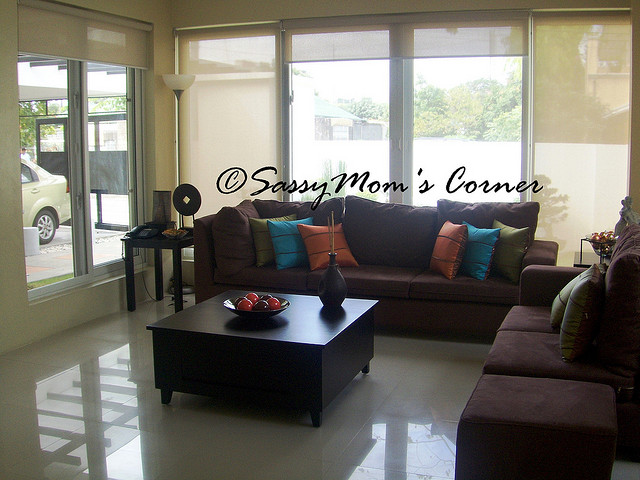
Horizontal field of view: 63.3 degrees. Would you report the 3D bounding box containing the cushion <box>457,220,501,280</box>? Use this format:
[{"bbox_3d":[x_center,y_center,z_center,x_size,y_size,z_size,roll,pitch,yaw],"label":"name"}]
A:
[{"bbox_3d":[1.331,0.095,4.468,0.266,0.452,0.489,-9,11,-18],"label":"cushion"}]

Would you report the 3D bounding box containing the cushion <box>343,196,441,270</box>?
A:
[{"bbox_3d":[0.649,-0.036,4.801,0.619,0.428,0.218,4,10,11],"label":"cushion"}]

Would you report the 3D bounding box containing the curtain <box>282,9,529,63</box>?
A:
[{"bbox_3d":[0.950,-2.054,5.238,2.205,0.421,0.075,2,12,11],"label":"curtain"}]

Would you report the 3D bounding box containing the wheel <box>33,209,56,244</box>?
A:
[{"bbox_3d":[-2.443,-0.109,4.673,0.298,0.299,0.102,-10,-12,25],"label":"wheel"}]

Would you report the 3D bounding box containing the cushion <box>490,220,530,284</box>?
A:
[{"bbox_3d":[1.558,0.115,4.273,0.403,0.408,0.150,16,-2,38],"label":"cushion"}]

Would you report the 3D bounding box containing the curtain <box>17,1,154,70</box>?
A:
[{"bbox_3d":[-2.209,-1.900,4.794,0.074,0.325,1.092,3,8,25],"label":"curtain"}]

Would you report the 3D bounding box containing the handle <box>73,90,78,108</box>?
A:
[{"bbox_3d":[-2.307,-1.330,4.898,0.046,0.150,0.013,-10,15,-39],"label":"handle"}]

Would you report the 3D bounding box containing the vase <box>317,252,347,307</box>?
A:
[{"bbox_3d":[0.085,0.273,3.608,0.182,0.398,0.185,0,12,1],"label":"vase"}]

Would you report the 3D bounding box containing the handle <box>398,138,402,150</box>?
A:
[{"bbox_3d":[0.830,-1.010,5.436,0.028,0.116,0.013,2,12,11],"label":"handle"}]

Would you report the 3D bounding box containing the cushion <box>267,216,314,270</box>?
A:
[{"bbox_3d":[-0.299,0.035,4.794,0.301,0.404,0.262,-6,13,-24],"label":"cushion"}]

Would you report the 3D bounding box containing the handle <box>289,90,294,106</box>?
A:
[{"bbox_3d":[-0.312,-1.532,5.638,0.033,0.163,0.087,9,0,11],"label":"handle"}]

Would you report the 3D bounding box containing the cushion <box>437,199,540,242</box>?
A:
[{"bbox_3d":[1.513,-0.174,4.785,0.855,0.501,0.251,3,44,13],"label":"cushion"}]

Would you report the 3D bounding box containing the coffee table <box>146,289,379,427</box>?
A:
[{"bbox_3d":[-0.362,0.686,3.501,1.325,0.638,0.840,3,12,14],"label":"coffee table"}]

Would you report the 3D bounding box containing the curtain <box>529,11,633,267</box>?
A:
[{"bbox_3d":[2.500,-0.974,5.052,0.919,2.431,0.339,1,12,5],"label":"curtain"}]

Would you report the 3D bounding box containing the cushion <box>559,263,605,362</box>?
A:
[{"bbox_3d":[1.421,0.417,2.813,0.151,0.324,0.477,12,6,23],"label":"cushion"}]

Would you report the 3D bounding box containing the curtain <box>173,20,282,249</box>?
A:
[{"bbox_3d":[-0.967,-1.065,5.924,1.215,2.635,0.074,-3,23,-9],"label":"curtain"}]

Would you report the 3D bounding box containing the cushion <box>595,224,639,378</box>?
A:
[{"bbox_3d":[1.648,0.339,2.834,0.202,0.628,0.608,6,13,29],"label":"cushion"}]

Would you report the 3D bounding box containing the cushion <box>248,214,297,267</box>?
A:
[{"bbox_3d":[-0.445,0.026,4.779,0.449,0.457,0.138,-1,-6,-2],"label":"cushion"}]

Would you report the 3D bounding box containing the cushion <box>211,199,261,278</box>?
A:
[{"bbox_3d":[-0.870,0.001,5.001,0.341,0.600,0.636,-9,2,-5],"label":"cushion"}]

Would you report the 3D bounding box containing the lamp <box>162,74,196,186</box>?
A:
[{"bbox_3d":[-1.541,-1.167,5.630,0.283,1.137,0.281,11,14,31],"label":"lamp"}]

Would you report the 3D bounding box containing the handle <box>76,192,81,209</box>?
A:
[{"bbox_3d":[-2.305,-0.377,4.956,0.017,0.153,0.052,5,13,23],"label":"handle"}]
